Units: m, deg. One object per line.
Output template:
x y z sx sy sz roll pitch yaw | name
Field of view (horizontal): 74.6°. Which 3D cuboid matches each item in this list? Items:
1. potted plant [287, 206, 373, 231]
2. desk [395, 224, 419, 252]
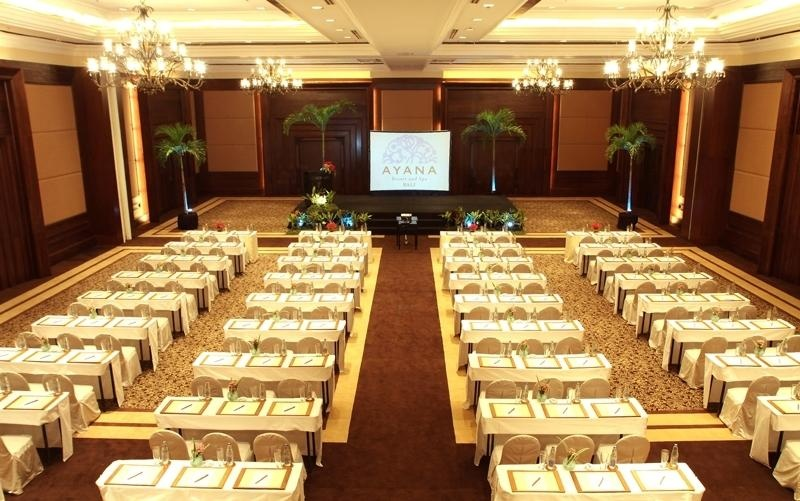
-2.482 -1.073 17.751 2.760 0.865 1.469 4 12 11 | potted plant
0.242 -0.581 17.068 0.818 0.951 0.769 -1 26 1 | desk
